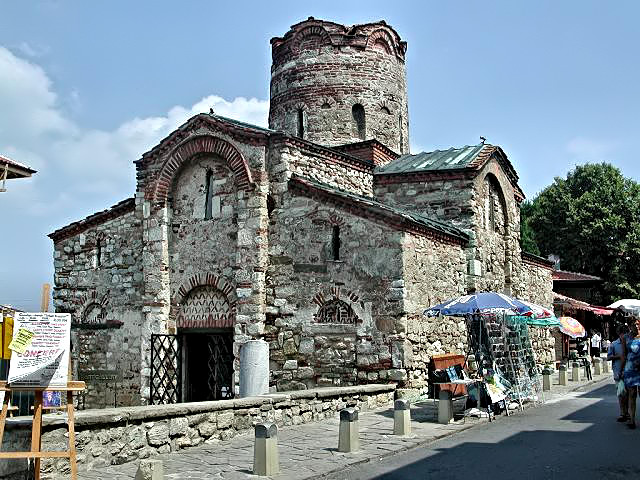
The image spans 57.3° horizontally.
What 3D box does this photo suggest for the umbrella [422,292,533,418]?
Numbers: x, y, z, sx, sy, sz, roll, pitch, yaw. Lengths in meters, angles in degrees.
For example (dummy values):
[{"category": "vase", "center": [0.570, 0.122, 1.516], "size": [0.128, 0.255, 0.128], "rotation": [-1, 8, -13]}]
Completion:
[{"category": "umbrella", "center": [4.265, 2.590, 15.493], "size": [2.339, 2.352, 2.373], "rotation": [-6, 0, 6]}]
